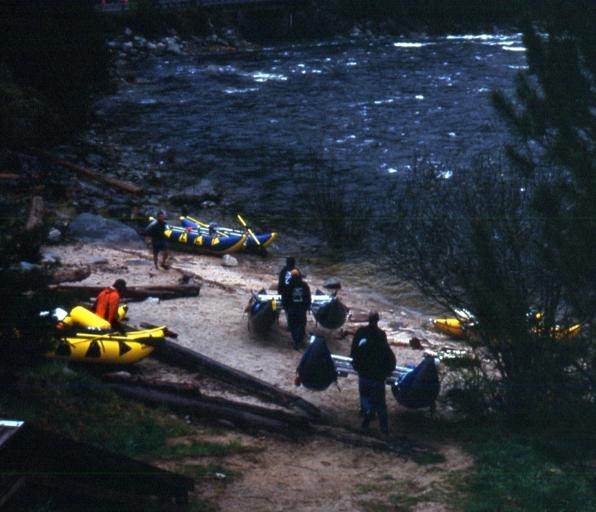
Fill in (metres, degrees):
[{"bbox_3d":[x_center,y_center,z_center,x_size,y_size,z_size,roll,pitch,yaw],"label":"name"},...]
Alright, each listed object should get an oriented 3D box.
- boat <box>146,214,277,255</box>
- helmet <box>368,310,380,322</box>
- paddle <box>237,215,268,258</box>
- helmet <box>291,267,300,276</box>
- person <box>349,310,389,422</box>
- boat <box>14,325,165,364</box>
[{"bbox_3d":[-2.287,-0.456,27.887,2.225,0.390,1.496,7,8,12],"label":"boat"},{"bbox_3d":[1.430,1.132,19.849,0.184,0.209,0.208,9,41,6],"label":"helmet"},{"bbox_3d":[-1.283,-0.483,29.028,0.892,0.173,2.613,-34,14,2],"label":"paddle"},{"bbox_3d":[-0.037,0.342,21.965,0.155,0.139,0.169,4,-22,36],"label":"helmet"},{"bbox_3d":[1.413,2.186,20.003,0.799,2.311,0.311,2,14,3],"label":"person"},{"bbox_3d":[-3.834,1.746,20.303,2.397,0.677,0.704,2,23,-15],"label":"boat"}]
